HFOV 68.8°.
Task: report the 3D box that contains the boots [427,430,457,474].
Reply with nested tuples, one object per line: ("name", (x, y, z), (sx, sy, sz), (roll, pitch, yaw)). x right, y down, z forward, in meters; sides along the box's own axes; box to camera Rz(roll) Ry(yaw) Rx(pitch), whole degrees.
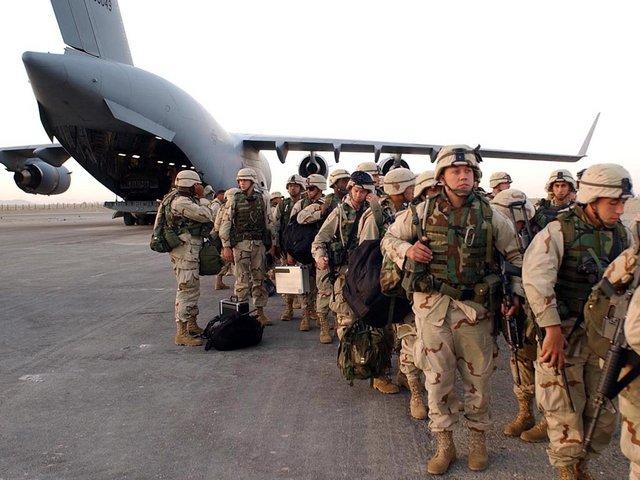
("boots", (0.908, 1.596, 3.473), (0.150, 0.302, 0.391), (-5, -10, 31))

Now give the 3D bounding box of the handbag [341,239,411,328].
("handbag", (0.505, 0.398, 4.046), (0.394, 0.704, 0.513), (21, -45, -30))

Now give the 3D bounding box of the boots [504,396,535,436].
("boots", (1.665, 1.471, 3.900), (0.359, 0.286, 0.127), (-3, 5, -34))

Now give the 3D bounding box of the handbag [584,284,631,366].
("handbag", (1.733, 0.486, 2.835), (0.237, 0.580, 0.138), (8, -31, 21))

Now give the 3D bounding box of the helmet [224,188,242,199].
("helmet", (-1.295, -0.683, 6.871), (0.326, 0.148, 0.457), (-8, 1, -11))

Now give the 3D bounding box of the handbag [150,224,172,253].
("handbag", (-2.038, -0.012, 6.010), (0.283, 0.520, 0.396), (-4, 1, -13))

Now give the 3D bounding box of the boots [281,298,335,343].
("boots", (-0.135, 1.132, 6.533), (0.334, 0.452, 1.058), (1, -7, -11))

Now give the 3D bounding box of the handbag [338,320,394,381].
("handbag", (0.394, 1.089, 4.481), (0.451, 0.589, 0.604), (1, -22, 5))

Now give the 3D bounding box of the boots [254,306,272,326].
("boots", (-0.828, 1.126, 6.819), (0.347, 0.326, 0.168), (-2, 3, 3))

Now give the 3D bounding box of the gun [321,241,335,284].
("gun", (0.100, 0.269, 5.347), (0.205, 0.489, 0.083), (-3, -1, -10))

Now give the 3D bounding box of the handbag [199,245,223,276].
("handbag", (-1.408, 0.267, 5.977), (0.374, 0.499, 0.258), (-2, 11, -20))

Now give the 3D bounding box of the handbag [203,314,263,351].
("handbag", (-1.042, 1.121, 5.683), (0.422, 0.273, 0.583), (1, 1, 41))

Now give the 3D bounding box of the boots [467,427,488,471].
("boots", (1.170, 1.574, 3.457), (0.116, 0.231, 0.340), (-2, 0, 12))

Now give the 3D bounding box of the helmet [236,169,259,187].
("helmet", (-1.008, -0.870, 6.551), (0.215, 0.211, 0.275), (5, 17, 25))

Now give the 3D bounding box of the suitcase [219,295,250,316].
("suitcase", (-1.101, 0.871, 6.052), (0.344, 0.288, 0.123), (5, 19, 11))

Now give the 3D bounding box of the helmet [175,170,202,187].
("helmet", (-1.723, -0.803, 6.090), (0.219, 0.216, 0.281), (9, 23, 38))

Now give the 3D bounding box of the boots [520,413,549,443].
("boots", (1.771, 1.540, 3.782), (0.324, 0.143, 0.174), (-7, 11, -44))
